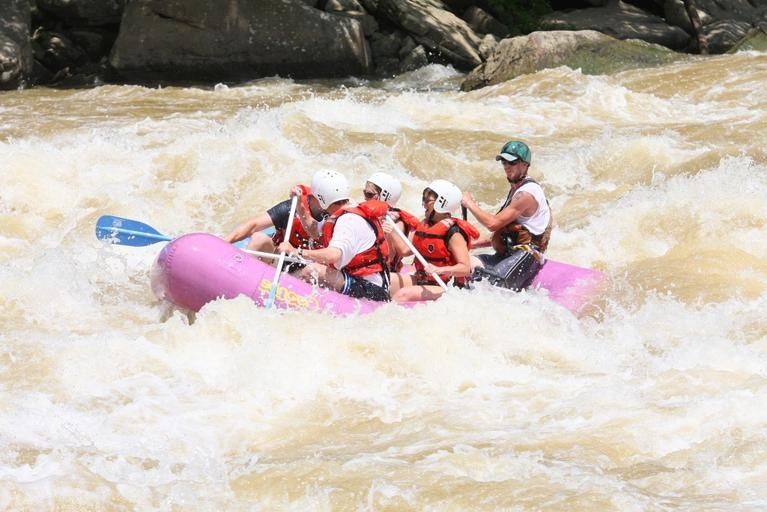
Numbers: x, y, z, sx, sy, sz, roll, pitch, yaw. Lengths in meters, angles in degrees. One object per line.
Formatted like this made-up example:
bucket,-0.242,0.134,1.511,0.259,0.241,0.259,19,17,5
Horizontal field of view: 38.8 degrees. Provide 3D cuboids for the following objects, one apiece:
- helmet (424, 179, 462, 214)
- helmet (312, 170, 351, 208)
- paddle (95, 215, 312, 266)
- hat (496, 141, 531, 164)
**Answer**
helmet,0.783,-0.739,13.891,0.492,0.354,0.342,16,14,4
helmet,-0.673,-0.859,13.645,0.394,0.385,0.515,-16,35,-34
paddle,-2.346,-0.161,13.977,2.680,0.391,0.117,12,15,11
hat,1.713,-1.305,14.245,0.415,0.216,0.292,8,0,-31
